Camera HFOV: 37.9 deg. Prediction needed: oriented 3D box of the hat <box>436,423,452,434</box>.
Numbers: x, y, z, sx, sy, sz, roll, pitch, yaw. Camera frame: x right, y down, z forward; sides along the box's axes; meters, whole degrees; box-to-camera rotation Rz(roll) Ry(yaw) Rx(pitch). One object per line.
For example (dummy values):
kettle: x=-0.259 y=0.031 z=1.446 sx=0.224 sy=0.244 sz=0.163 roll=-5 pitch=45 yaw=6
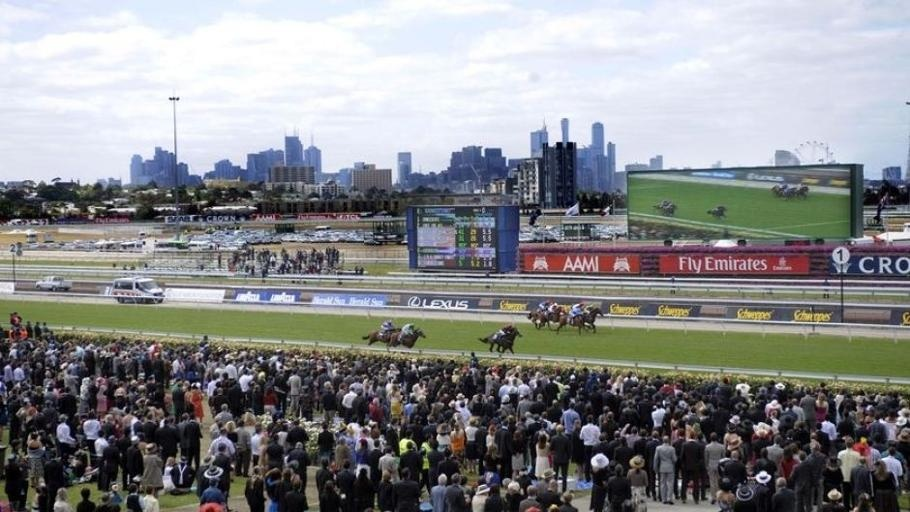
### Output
hat: x=-0.584 y=8.934 z=68.689 sx=0.650 sy=0.301 sz=0.617 roll=-2 pitch=4 yaw=-34

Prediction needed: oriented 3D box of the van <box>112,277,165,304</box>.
van: x=-24.088 y=2.577 z=100.308 sx=3.711 sy=1.429 sz=1.853 roll=0 pitch=5 yaw=17

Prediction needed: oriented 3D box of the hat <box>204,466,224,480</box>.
hat: x=-12.189 y=10.836 z=66.264 sx=0.782 sy=0.209 sz=0.699 roll=-3 pitch=21 yaw=0

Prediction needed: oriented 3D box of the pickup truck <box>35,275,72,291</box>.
pickup truck: x=-32.288 y=2.159 z=105.844 sx=2.657 sy=0.777 sz=1.185 roll=3 pitch=3 yaw=8

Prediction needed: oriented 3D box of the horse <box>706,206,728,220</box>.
horse: x=21.987 y=-3.686 z=111.381 sx=1.513 sy=1.172 sz=0.403 roll=3 pitch=13 yaw=15
